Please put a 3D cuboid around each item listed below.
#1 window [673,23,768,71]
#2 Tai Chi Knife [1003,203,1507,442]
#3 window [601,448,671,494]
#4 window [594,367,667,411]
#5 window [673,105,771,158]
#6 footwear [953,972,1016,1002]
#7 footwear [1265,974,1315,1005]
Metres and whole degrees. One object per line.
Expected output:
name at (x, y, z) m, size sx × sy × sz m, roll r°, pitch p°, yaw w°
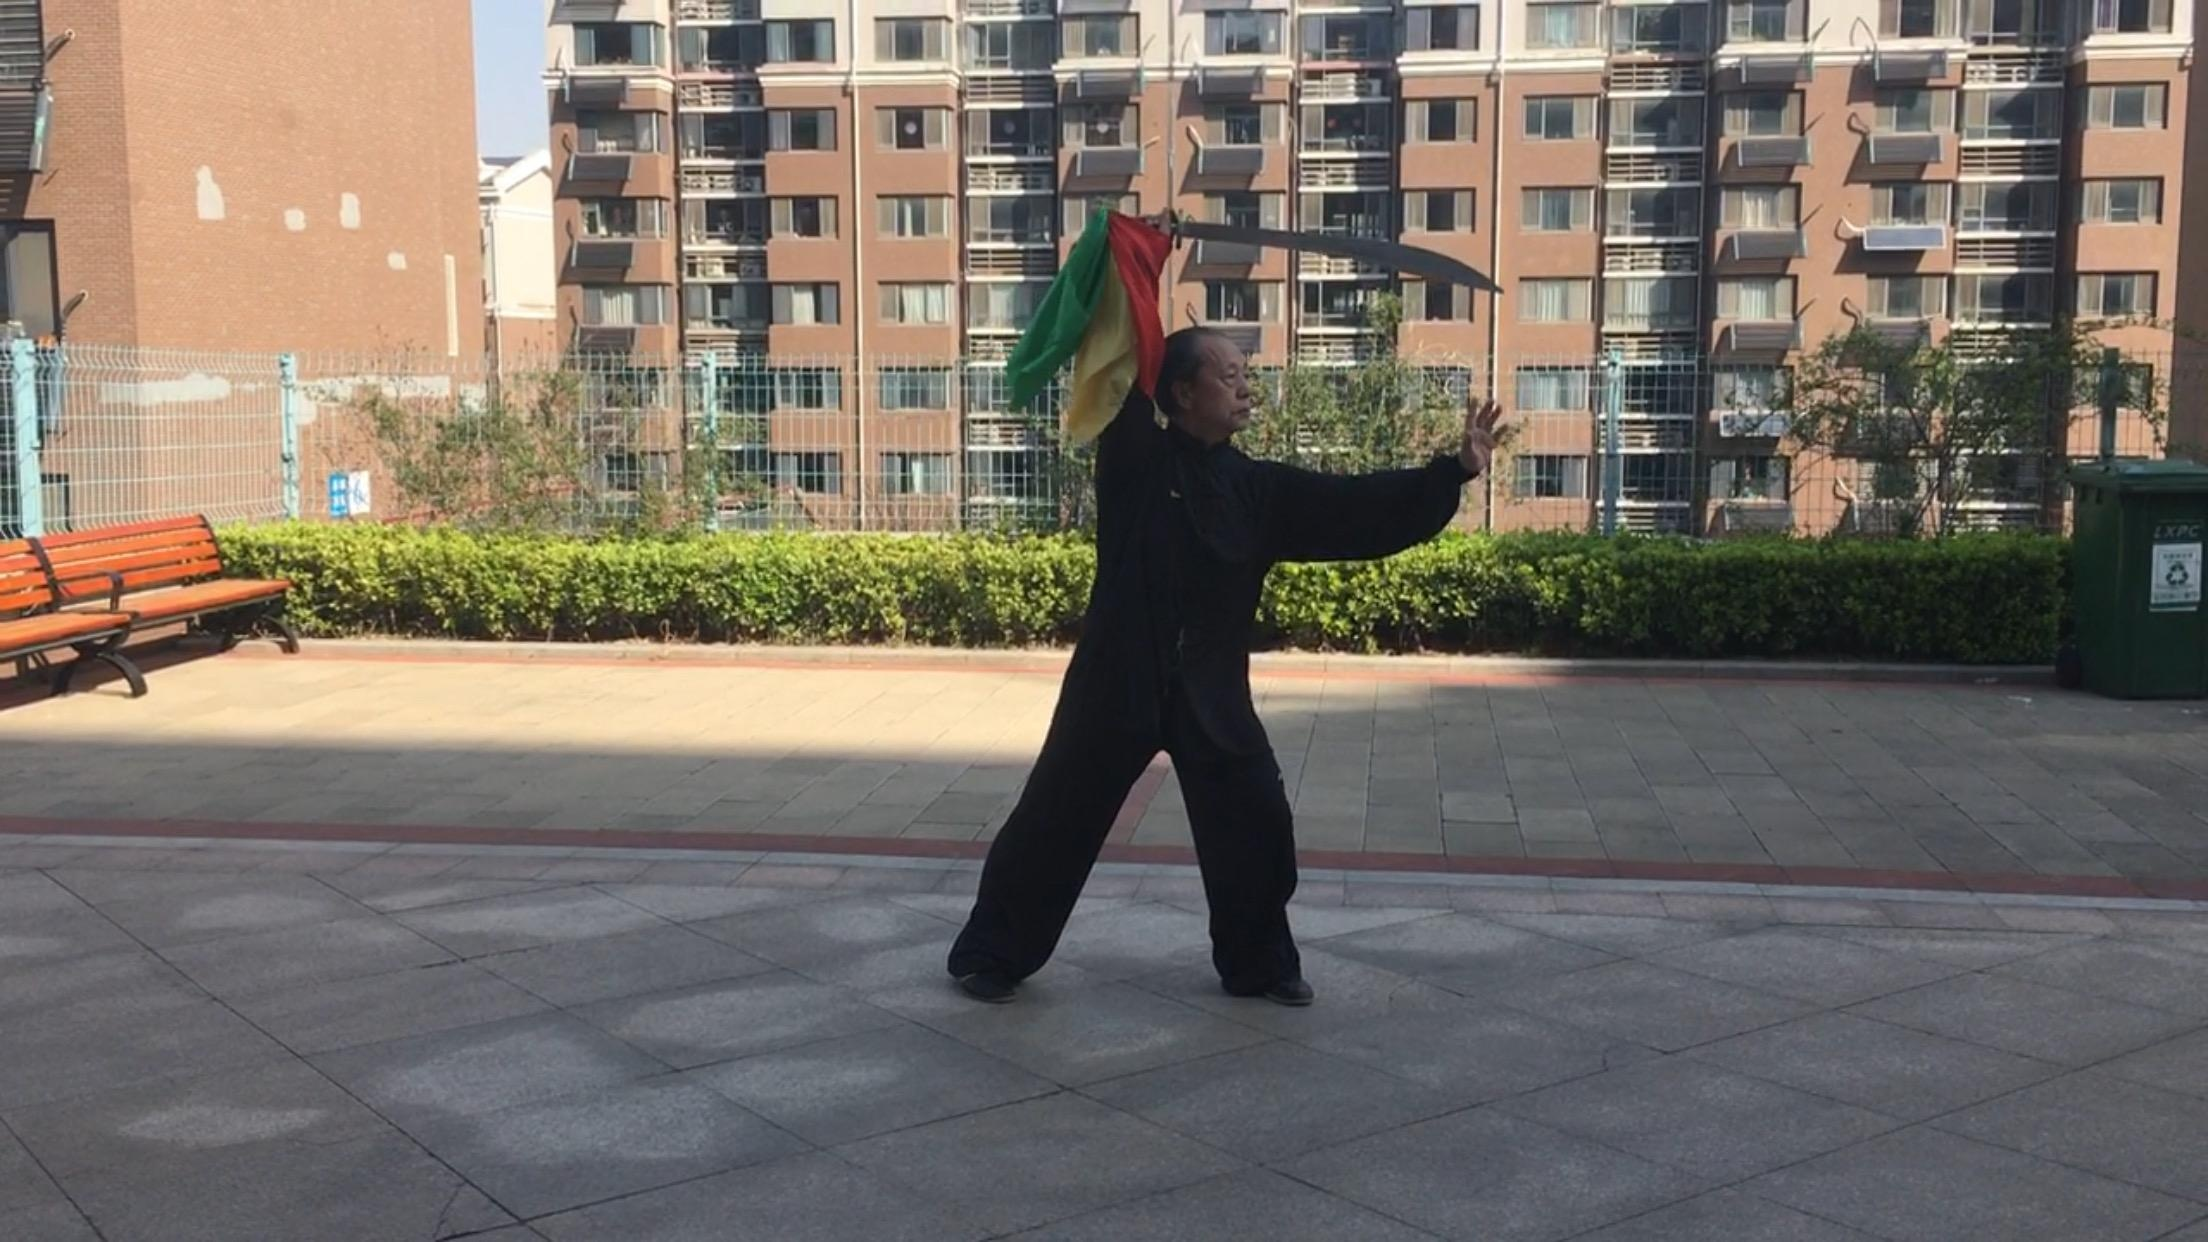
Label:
window at (-11.543, -17.593, 58.354) m, size 1.778 × 1.121 × 0.074 m, roll 1°, pitch 19°, yaw 6°
Tai Chi Knife at (0.507, -1.842, 11.879) m, size 2.226 × 1.430 × 0.840 m, roll -1°, pitch 10°, yaw 0°
window at (-5.112, -1.638, 20.910) m, size 0.806 × 0.404 × 0.376 m, roll 6°, pitch 12°, yaw 33°
window at (-5.256, -2.582, 21.209) m, size 0.558 × 0.581 × 0.142 m, roll -4°, pitch 3°, yaw 12°
window at (-11.521, -14.788, 59.426) m, size 2.456 × 1.462 × 1.271 m, roll 1°, pitch -12°, yaw 4°
footwear at (-0.720, 2.253, 11.814) m, size 0.226 × 0.059 × 0.235 m, roll 0°, pitch 12°, yaw -8°
footwear at (1.143, 2.278, 11.842) m, size 0.285 × 0.151 × 0.152 m, roll -1°, pitch 5°, yaw 20°
